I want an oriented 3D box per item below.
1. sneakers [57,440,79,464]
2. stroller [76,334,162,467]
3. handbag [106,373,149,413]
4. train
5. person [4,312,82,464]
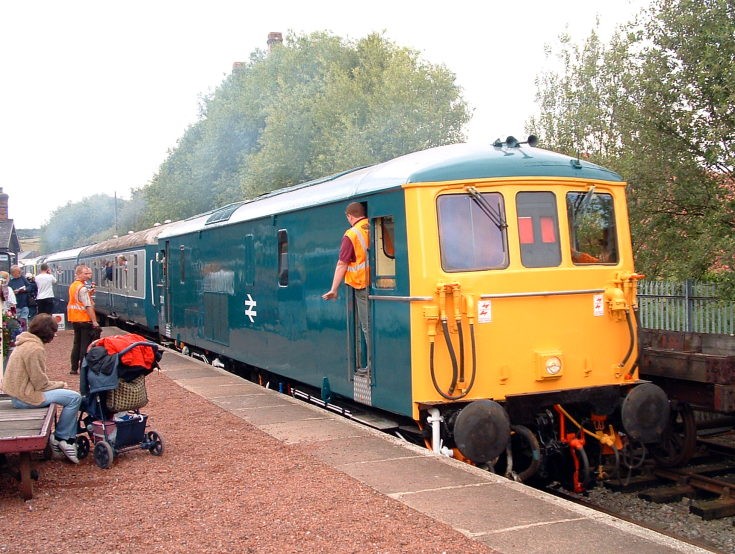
[{"bbox_3d":[-3.371,1.953,6.658,0.283,0.127,0.094,47,-1,-11],"label":"sneakers"},{"bbox_3d":[-2.885,1.396,6.841,0.958,0.933,0.776,-1,1,-11],"label":"stroller"},{"bbox_3d":[-2.782,1.312,6.774,0.273,0.487,0.511,2,6,40],"label":"handbag"},{"bbox_3d":[-1.896,0.350,13.915,3.807,4.663,16.418,-1,1,-24],"label":"train"},{"bbox_3d":[-3.651,1.259,6.659,0.781,1.214,0.496,-1,1,-26],"label":"person"}]
